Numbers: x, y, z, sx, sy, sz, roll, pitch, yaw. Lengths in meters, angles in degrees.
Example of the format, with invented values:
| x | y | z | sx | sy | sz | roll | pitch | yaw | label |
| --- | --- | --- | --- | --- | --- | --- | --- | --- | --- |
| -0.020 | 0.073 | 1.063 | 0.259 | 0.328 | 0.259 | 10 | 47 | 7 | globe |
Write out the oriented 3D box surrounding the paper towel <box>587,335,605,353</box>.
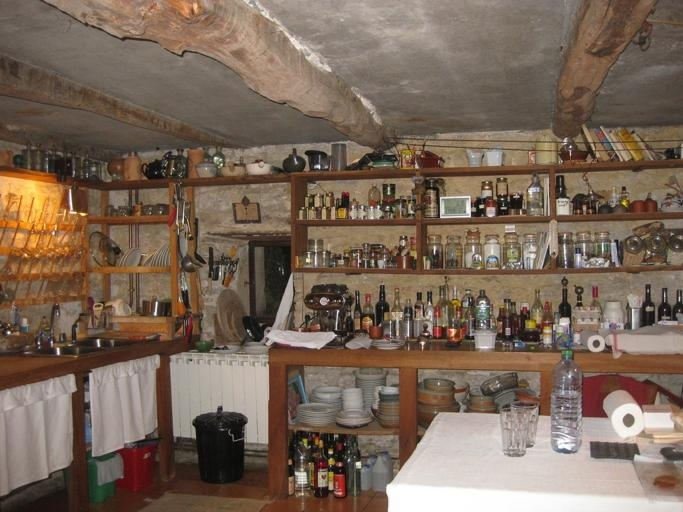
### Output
| x | y | z | sx | sy | sz | roll | pitch | yaw | label |
| --- | --- | --- | --- | --- | --- | --- | --- | --- | --- |
| 1.758 | 0.594 | 4.141 | 0.129 | 0.115 | 0.065 | -5 | 13 | 1 | paper towel |

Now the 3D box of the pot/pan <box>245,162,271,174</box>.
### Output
| x | y | z | sx | sy | sz | roll | pitch | yaw | label |
| --- | --- | --- | --- | --- | --- | --- | --- | --- | --- |
| -0.686 | -0.726 | 5.025 | 0.212 | 0.112 | 0.100 | -5 | 12 | -2 | pot/pan |

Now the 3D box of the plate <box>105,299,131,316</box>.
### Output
| x | y | z | sx | sy | sz | roll | pitch | yaw | label |
| --- | --- | --- | --- | --- | --- | --- | --- | --- | --- |
| -1.942 | 0.455 | 5.271 | 0.183 | 0.131 | 0.379 | -10 | 11 | -23 | plate |

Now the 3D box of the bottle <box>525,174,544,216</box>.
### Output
| x | y | z | sx | sy | sz | roll | pitch | yaw | label |
| --- | --- | --- | --- | --- | --- | --- | --- | --- | --- |
| 1.486 | -0.471 | 4.639 | 0.140 | 0.314 | 0.185 | -3 | 13 | 17 | bottle |

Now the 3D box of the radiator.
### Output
| x | y | z | sx | sy | sz | roll | pitch | yaw | label |
| --- | --- | --- | --- | --- | --- | --- | --- | --- | --- |
| -1.005 | 1.150 | 5.032 | 0.111 | 0.658 | 0.972 | -22 | -25 | 35 | radiator |

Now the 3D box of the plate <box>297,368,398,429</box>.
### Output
| x | y | z | sx | sy | sz | roll | pitch | yaw | label |
| --- | --- | --- | --- | --- | --- | --- | --- | --- | --- |
| -0.007 | 1.078 | 4.709 | 0.555 | 0.177 | 0.523 | -1 | -2 | 32 | plate |

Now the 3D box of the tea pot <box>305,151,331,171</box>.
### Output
| x | y | z | sx | sy | sz | roll | pitch | yaw | label |
| --- | --- | --- | --- | --- | --- | --- | --- | --- | --- |
| -0.184 | -0.765 | 4.886 | 0.228 | 0.134 | 0.169 | 2 | 0 | 11 | tea pot |

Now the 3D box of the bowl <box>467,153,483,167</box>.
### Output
| x | y | z | sx | sy | sz | roll | pitch | yaw | label |
| --- | --- | --- | --- | --- | --- | --- | --- | --- | --- |
| 1.033 | -0.747 | 4.729 | 0.124 | 0.081 | 0.122 | 1 | 6 | 0 | bowl |

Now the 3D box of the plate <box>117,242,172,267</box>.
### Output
| x | y | z | sx | sy | sz | roll | pitch | yaw | label |
| --- | --- | --- | --- | --- | --- | --- | --- | --- | --- |
| -1.752 | 0.010 | 5.416 | 0.362 | 0.118 | 0.305 | 1 | -8 | -8 | plate |

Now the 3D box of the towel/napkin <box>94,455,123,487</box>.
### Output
| x | y | z | sx | sy | sz | roll | pitch | yaw | label |
| --- | --- | --- | --- | --- | --- | --- | --- | --- | --- |
| -1.777 | 1.592 | 4.568 | 0.241 | 0.162 | 0.197 | 0 | 3 | -43 | towel/napkin |

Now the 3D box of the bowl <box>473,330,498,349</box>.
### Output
| x | y | z | sx | sy | sz | roll | pitch | yaw | label |
| --- | --- | --- | --- | --- | --- | --- | --- | --- | --- |
| 1.021 | 0.592 | 4.306 | 0.158 | 0.107 | 0.133 | 1 | 0 | -14 | bowl |

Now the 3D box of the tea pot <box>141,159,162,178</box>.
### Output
| x | y | z | sx | sy | sz | roll | pitch | yaw | label |
| --- | --- | --- | --- | --- | --- | --- | --- | --- | --- |
| -1.639 | -0.752 | 5.262 | 0.175 | 0.169 | 0.150 | -9 | 12 | -16 | tea pot |

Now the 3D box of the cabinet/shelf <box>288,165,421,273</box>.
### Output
| x | y | z | sx | sy | sz | roll | pitch | yaw | label |
| --- | --- | --- | --- | --- | --- | --- | --- | --- | --- |
| 0.355 | -0.287 | 4.964 | 1.519 | 0.778 | 0.432 | 1 | 10 | 10 | cabinet/shelf |

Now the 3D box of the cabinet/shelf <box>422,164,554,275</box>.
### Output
| x | y | z | sx | sy | sz | roll | pitch | yaw | label |
| --- | --- | --- | --- | --- | --- | --- | --- | --- | --- |
| 1.165 | -0.282 | 4.713 | 1.232 | 0.633 | 0.330 | 0 | 3 | 15 | cabinet/shelf |

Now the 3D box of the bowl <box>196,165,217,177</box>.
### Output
| x | y | z | sx | sy | sz | roll | pitch | yaw | label |
| --- | --- | --- | --- | --- | --- | --- | --- | --- | --- |
| -1.143 | -0.718 | 5.158 | 0.148 | 0.075 | 0.125 | 2 | 5 | 3 | bowl |

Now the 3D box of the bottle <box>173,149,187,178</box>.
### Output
| x | y | z | sx | sy | sz | roll | pitch | yaw | label |
| --- | --- | --- | --- | --- | --- | --- | --- | --- | --- |
| -1.385 | -0.765 | 5.213 | 0.079 | 0.201 | 0.152 | -2 | 13 | 23 | bottle |

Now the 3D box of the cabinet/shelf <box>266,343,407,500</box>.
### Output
| x | y | z | sx | sy | sz | roll | pitch | yaw | label |
| --- | --- | --- | --- | --- | --- | --- | --- | --- | --- |
| -0.015 | 1.311 | 4.724 | 1.223 | 0.865 | 0.348 | -1 | -12 | -16 | cabinet/shelf |

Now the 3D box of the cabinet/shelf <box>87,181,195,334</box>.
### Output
| x | y | z | sx | sy | sz | roll | pitch | yaw | label |
| --- | --- | --- | --- | --- | --- | --- | --- | --- | --- |
| -1.839 | 0.045 | 5.432 | 1.040 | 1.343 | 0.504 | 0 | 9 | 11 | cabinet/shelf |

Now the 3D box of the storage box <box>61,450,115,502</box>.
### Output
| x | y | z | sx | sy | sz | roll | pitch | yaw | label |
| --- | --- | --- | --- | --- | --- | --- | --- | --- | --- |
| -1.798 | 1.622 | 4.490 | 0.137 | 0.374 | 0.317 | -5 | 12 | 9 | storage box |

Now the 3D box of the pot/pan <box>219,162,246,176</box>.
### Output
| x | y | z | sx | sy | sz | roll | pitch | yaw | label |
| --- | --- | --- | --- | --- | --- | --- | --- | --- | --- |
| -0.926 | -0.724 | 5.143 | 0.180 | 0.078 | 0.146 | 1 | -3 | -39 | pot/pan |

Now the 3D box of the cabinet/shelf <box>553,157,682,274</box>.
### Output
| x | y | z | sx | sy | sz | roll | pitch | yaw | label |
| --- | --- | --- | --- | --- | --- | --- | --- | --- | --- |
| 2.127 | -0.294 | 4.589 | 1.249 | 0.597 | 0.320 | 0 | 2 | 6 | cabinet/shelf |

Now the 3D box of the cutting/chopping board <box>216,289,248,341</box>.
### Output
| x | y | z | sx | sy | sz | roll | pitch | yaw | label |
| --- | --- | --- | --- | --- | --- | --- | --- | --- | --- |
| -1.026 | 0.567 | 5.580 | 0.091 | 0.406 | 0.499 | -9 | -21 | 32 | cutting/chopping board |

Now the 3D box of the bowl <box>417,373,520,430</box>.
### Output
| x | y | z | sx | sy | sz | roll | pitch | yaw | label |
| --- | --- | --- | --- | --- | --- | --- | --- | --- | --- |
| 0.935 | 1.051 | 4.409 | 0.691 | 0.184 | 0.420 | -1 | -7 | 11 | bowl |

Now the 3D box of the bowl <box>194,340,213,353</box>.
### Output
| x | y | z | sx | sy | sz | roll | pitch | yaw | label |
| --- | --- | --- | --- | --- | --- | --- | --- | --- | --- |
| -1.166 | 0.771 | 5.201 | 0.126 | 0.050 | 0.110 | 0 | 0 | 14 | bowl |

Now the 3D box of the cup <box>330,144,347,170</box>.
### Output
| x | y | z | sx | sy | sz | roll | pitch | yaw | label |
| --- | --- | --- | --- | --- | --- | --- | --- | --- | --- |
| -0.026 | -0.798 | 4.894 | 0.135 | 0.220 | 0.102 | -7 | 13 | -3 | cup |

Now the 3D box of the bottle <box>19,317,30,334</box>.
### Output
| x | y | z | sx | sy | sz | roll | pitch | yaw | label |
| --- | --- | --- | --- | --- | --- | --- | --- | --- | --- |
| -2.452 | 0.529 | 4.671 | 0.060 | 0.108 | 0.182 | -14 | 14 | -29 | bottle |

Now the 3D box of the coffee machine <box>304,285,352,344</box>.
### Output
| x | y | z | sx | sy | sz | roll | pitch | yaw | label |
| --- | --- | --- | --- | --- | --- | --- | --- | --- | --- |
| -0.132 | 0.425 | 4.743 | 0.373 | 0.342 | 0.354 | -2 | 0 | -15 | coffee machine |

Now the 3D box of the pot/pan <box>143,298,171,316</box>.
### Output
| x | y | z | sx | sy | sz | roll | pitch | yaw | label |
| --- | --- | --- | --- | --- | --- | --- | --- | --- | --- |
| -1.629 | 0.443 | 5.303 | 0.204 | 0.106 | 0.200 | -3 | -6 | 38 | pot/pan |

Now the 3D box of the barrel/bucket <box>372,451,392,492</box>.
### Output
| x | y | z | sx | sy | sz | roll | pitch | yaw | label |
| --- | --- | --- | --- | --- | --- | --- | --- | --- | --- |
| 0.306 | 1.619 | 4.598 | 0.164 | 0.223 | 0.255 | -1 | 0 | 8 | barrel/bucket |
